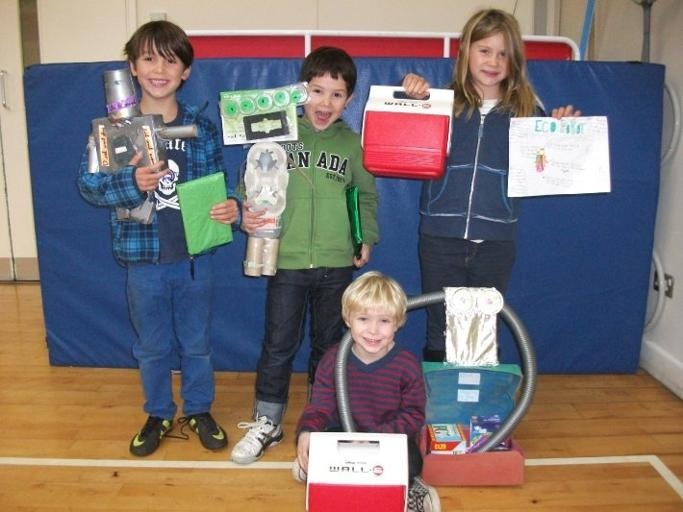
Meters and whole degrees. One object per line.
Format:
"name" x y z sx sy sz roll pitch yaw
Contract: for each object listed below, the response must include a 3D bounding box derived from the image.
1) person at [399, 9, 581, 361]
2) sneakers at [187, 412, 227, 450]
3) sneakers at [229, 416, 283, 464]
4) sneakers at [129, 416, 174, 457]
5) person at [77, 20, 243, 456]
"person" 0.569 -0.431 2.612 0.440 1.148 0.368 5 21 15
"sneakers" -0.574 0.756 2.709 0.089 0.089 0.229 -24 37 -39
"sneakers" -0.352 0.767 2.658 0.119 0.114 0.250 25 27 22
"sneakers" -0.816 0.777 2.695 0.085 0.088 0.213 27 20 4
"person" -0.767 -0.061 2.582 0.579 1.737 0.574 -4 21 -8
